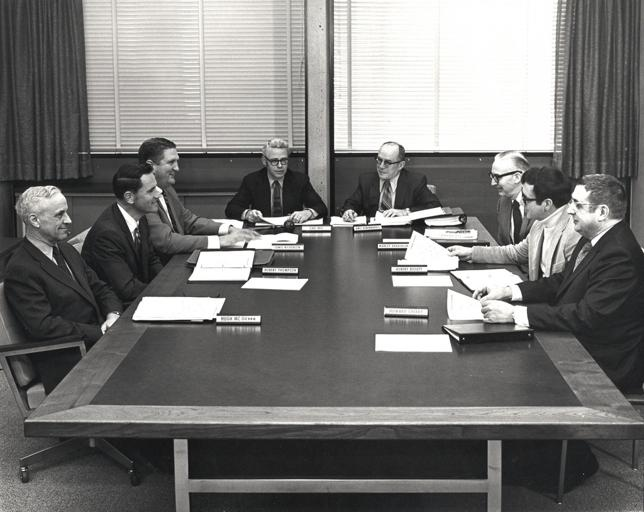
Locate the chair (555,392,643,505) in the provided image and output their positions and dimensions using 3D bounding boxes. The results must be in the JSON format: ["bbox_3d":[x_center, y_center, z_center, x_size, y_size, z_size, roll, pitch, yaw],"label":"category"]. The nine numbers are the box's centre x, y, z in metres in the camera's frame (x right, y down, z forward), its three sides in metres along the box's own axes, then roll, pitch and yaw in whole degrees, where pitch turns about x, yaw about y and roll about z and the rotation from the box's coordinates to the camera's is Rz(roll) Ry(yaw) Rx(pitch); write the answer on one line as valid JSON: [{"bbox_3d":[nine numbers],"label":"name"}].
[{"bbox_3d":[1.272,0.869,3.109,0.461,0.334,0.660,-1,4,9],"label":"chair"}]

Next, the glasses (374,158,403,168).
[{"bbox_3d":[0.575,-0.798,5.727,0.195,0.090,0.068,0,16,3],"label":"glasses"}]

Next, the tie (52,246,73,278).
[{"bbox_3d":[-1.438,0.038,3.702,0.029,0.022,0.212,-7,52,-42],"label":"tie"}]

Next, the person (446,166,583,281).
[{"bbox_3d":[1.134,-0.005,4.000,0.706,0.935,0.688,1,0,-30],"label":"person"}]

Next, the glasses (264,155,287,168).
[{"bbox_3d":[-0.394,-0.812,5.831,0.182,0.091,0.085,-4,16,-10],"label":"glasses"}]

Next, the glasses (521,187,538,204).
[{"bbox_3d":[1.188,-0.346,3.864,0.074,0.079,0.081,-1,8,-10],"label":"glasses"}]
